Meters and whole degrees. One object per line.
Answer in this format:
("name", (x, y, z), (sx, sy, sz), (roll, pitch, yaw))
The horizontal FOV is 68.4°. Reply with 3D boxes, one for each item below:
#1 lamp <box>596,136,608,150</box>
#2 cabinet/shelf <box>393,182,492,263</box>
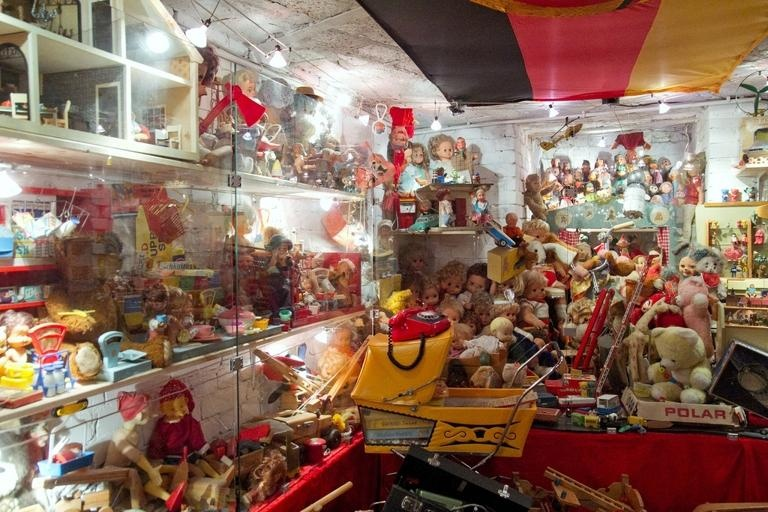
("lamp", (2.404, -1.256, 6.232), (0.123, 0.113, 0.113), (4, -5, -1))
("cabinet/shelf", (0.561, -0.262, 5.422), (1.196, 0.970, 0.802), (-1, -4, 1))
